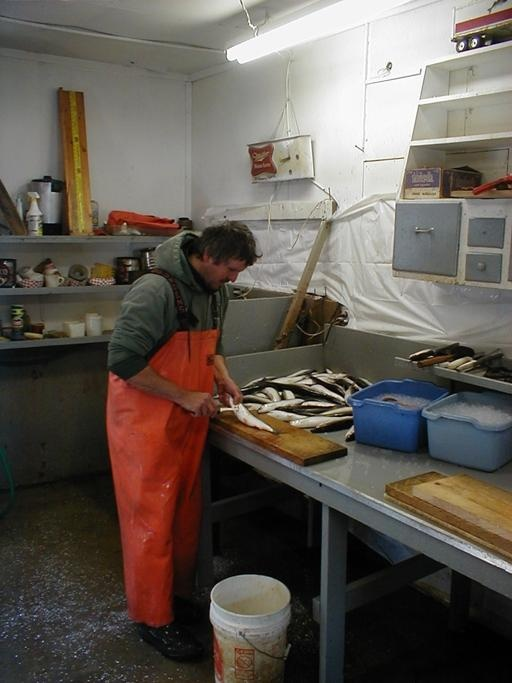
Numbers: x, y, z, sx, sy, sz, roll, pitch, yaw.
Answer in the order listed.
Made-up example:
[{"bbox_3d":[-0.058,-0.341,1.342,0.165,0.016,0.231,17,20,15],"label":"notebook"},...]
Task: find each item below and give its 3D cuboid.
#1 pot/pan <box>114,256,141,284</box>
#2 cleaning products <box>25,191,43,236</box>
[{"bbox_3d":[-0.931,-0.495,3.937,0.210,0.214,0.212,0,-2,43],"label":"pot/pan"},{"bbox_3d":[-1.417,-0.814,3.461,0.107,0.304,0.275,-4,9,-21],"label":"cleaning products"}]
